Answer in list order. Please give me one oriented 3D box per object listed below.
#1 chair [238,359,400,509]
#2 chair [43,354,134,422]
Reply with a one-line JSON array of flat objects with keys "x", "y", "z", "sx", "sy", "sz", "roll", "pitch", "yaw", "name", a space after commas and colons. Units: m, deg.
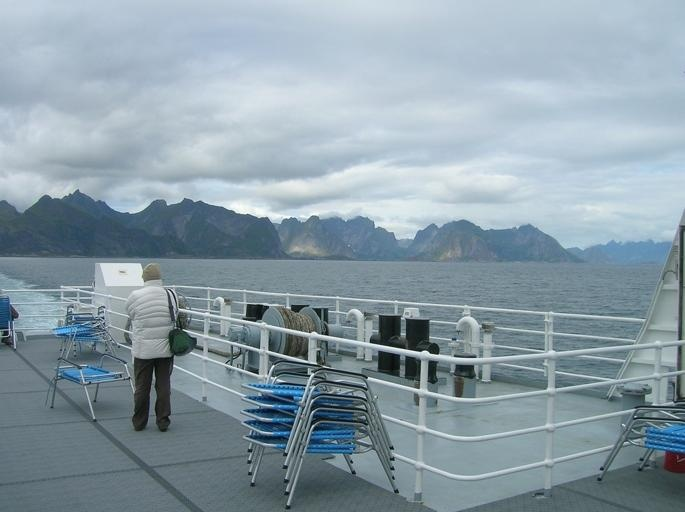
[{"x": -0.366, "y": 1.753, "z": 5.735, "sx": 1.679, "sy": 1.184, "sz": 1.305, "roll": 4, "pitch": -7, "yaw": -19, "name": "chair"}, {"x": -4.016, "y": 1.909, "z": 8.622, "sx": 1.170, "sy": 0.974, "sz": 2.037, "roll": 3, "pitch": -4, "yaw": -39, "name": "chair"}]
